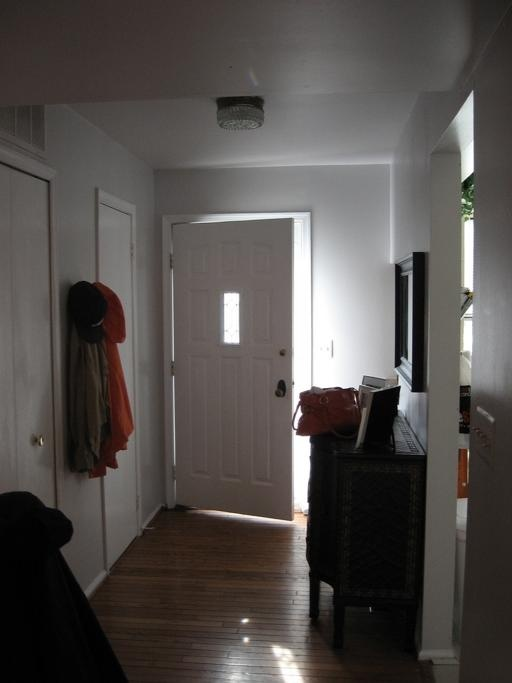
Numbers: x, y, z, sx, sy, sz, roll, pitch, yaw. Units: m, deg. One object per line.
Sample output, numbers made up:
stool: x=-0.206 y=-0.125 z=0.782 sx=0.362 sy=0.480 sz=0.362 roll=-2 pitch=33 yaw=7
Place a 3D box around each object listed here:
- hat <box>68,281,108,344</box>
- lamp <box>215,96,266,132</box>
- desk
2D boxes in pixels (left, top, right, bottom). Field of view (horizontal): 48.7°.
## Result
hat: x=-0.788 y=-0.132 z=2.636 sx=0.075 sy=0.296 sz=0.195 roll=-4 pitch=3 yaw=21
lamp: x=-0.070 y=-1.058 z=2.599 sx=0.228 sy=0.106 sz=0.251 roll=0 pitch=2 yaw=-4
desk: x=0.484 y=0.757 z=2.730 sx=0.461 sy=1.157 sz=1.006 roll=2 pitch=5 yaw=9
